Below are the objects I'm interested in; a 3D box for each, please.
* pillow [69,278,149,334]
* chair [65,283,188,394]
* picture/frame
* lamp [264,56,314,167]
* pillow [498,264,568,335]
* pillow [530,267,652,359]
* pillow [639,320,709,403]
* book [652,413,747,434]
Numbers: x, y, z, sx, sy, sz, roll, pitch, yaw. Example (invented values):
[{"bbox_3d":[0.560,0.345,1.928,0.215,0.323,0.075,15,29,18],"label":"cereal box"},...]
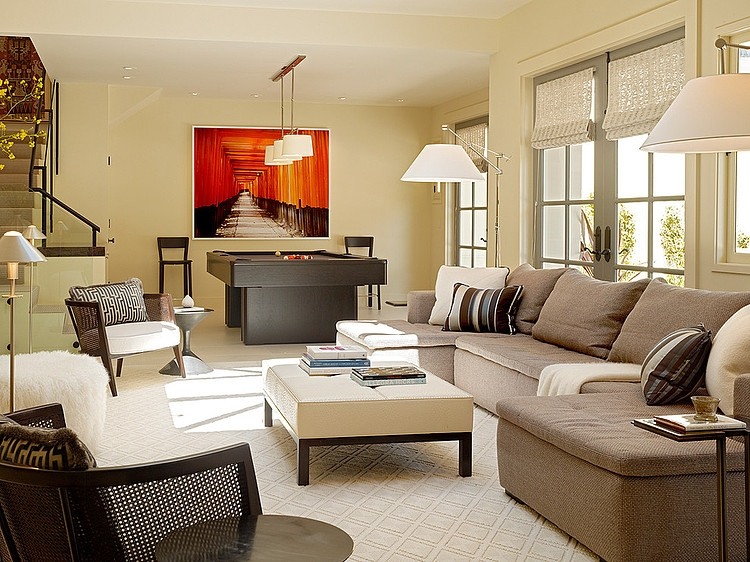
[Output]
[{"bbox_3d":[-2.370,0.235,5.120,0.159,0.350,0.561,-31,-16,32],"label":"pillow"},{"bbox_3d":[-2.257,0.490,5.329,1.017,1.058,1.009,0,2,38],"label":"chair"},{"bbox_3d":[-2.006,-1.639,9.447,2.074,1.441,0.069,0,1,-13],"label":"picture/frame"},{"bbox_3d":[-1.276,-2.489,8.332,0.631,1.604,1.786,0,1,-18],"label":"lamp"},{"bbox_3d":[1.282,0.133,4.766,0.195,0.512,0.522,24,-8,-28],"label":"pillow"},{"bbox_3d":[1.468,0.244,4.012,0.245,0.379,0.602,13,-3,-19],"label":"pillow"},{"bbox_3d":[1.549,0.411,3.062,0.332,0.399,0.576,0,-5,20],"label":"pillow"},{"bbox_3d":[1.099,0.479,1.951,0.255,0.044,0.163,1,6,6],"label":"book"}]
